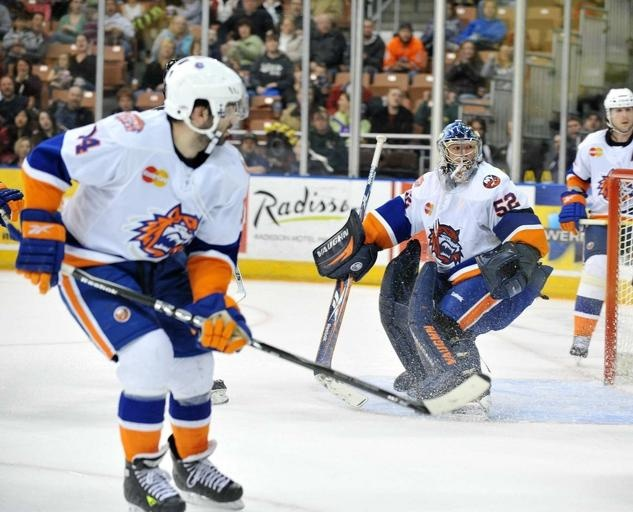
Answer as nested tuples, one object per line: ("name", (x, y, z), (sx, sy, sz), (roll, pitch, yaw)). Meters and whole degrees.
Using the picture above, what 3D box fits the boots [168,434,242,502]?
("boots", (-0.412, 0.849, 3.839), (0.369, 0.204, 0.155), (12, 25, 43))

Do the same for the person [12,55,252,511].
("person", (-0.674, 0.091, 3.683), (0.856, 1.698, 0.530), (1, 9, -5))

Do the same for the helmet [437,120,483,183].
("helmet", (0.741, -0.542, 4.946), (0.233, 0.294, 0.291), (-5, 26, 3))

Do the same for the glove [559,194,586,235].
("glove", (1.630, -0.274, 6.100), (0.199, 0.228, 0.101), (-2, -19, 40))

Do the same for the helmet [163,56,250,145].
("helmet", (-0.457, -0.628, 3.819), (0.362, 0.382, 0.296), (-3, 12, -10))

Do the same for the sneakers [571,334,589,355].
("sneakers", (1.589, 0.561, 5.851), (0.092, 0.139, 0.181), (5, 10, 22))

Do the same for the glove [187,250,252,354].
("glove", (-0.387, 0.163, 3.697), (0.237, 0.361, 0.146), (-6, -20, -41))

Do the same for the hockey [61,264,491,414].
("hockey", (-0.155, 0.418, 4.582), (1.424, 0.147, 0.193), (21, -38, -6))

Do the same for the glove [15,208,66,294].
("glove", (-1.036, -0.026, 3.667), (0.179, 0.318, 0.163), (-1, 9, -14))
